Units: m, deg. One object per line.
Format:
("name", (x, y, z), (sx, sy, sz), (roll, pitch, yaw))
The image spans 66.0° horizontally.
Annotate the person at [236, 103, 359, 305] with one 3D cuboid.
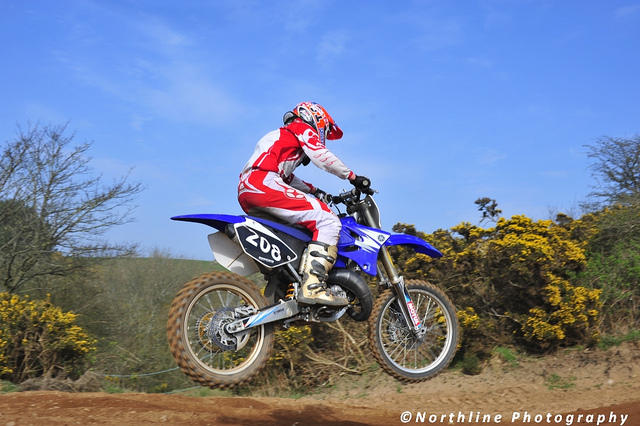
("person", (-0.327, -0.209, 7.483), (1.730, 3.123, 0.646), (7, -16, 3))
